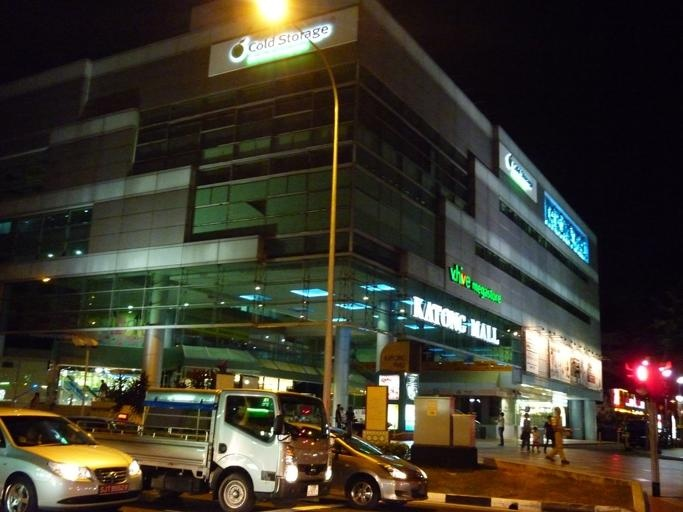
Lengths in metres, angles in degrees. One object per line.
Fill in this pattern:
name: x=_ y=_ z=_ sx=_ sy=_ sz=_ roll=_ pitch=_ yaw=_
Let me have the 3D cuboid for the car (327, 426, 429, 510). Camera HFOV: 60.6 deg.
car: x=0.973 y=5.647 z=15.441 sx=2.749 sy=1.129 sz=1.578 roll=-7 pitch=-15 yaw=26
